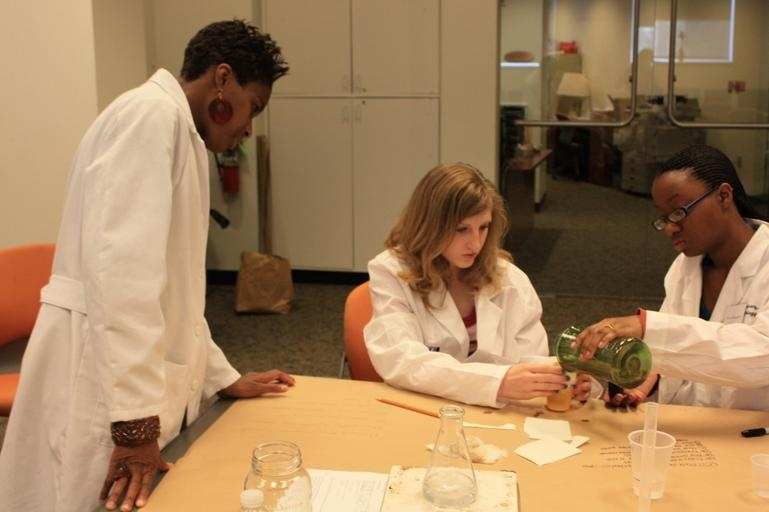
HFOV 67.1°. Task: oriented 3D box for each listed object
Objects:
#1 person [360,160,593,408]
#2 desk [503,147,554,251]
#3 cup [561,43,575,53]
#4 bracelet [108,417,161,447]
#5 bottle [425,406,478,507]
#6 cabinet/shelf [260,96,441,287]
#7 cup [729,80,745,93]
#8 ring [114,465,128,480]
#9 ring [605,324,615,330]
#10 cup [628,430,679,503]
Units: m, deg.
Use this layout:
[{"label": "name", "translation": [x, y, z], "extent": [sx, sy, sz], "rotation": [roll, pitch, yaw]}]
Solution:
[{"label": "person", "translation": [0.352, 0.136, 2.337], "extent": [0.794, 0.959, 1.090], "rotation": [-2, 5, -35]}, {"label": "desk", "translation": [1.213, -0.516, 4.848], "extent": [0.428, 0.629, 0.657], "rotation": [-2, 32, 14]}, {"label": "cup", "translation": [1.477, -1.680, 4.665], "extent": [0.111, 0.094, 0.080], "rotation": [1, 9, 12]}, {"label": "bracelet", "translation": [-0.654, 0.462, 1.525], "extent": [0.097, 0.065, 0.075], "rotation": [-9, -7, -23]}, {"label": "bottle", "translation": [0.174, 0.508, 1.510], "extent": [0.158, 0.268, 0.127], "rotation": [-5, 12, -7]}, {"label": "cabinet/shelf", "translation": [-0.292, -0.635, 4.730], "extent": [1.543, 1.567, 0.534], "rotation": [2, 13, 8]}, {"label": "cup", "translation": [2.741, -1.317, 4.513], "extent": [0.148, 0.109, 0.084], "rotation": [3, 15, 10]}, {"label": "ring", "translation": [-0.691, 0.565, 1.528], "extent": [0.033, 0.034, 0.012], "rotation": [1, 2, -34]}, {"label": "ring", "translation": [0.709, 0.226, 1.829], "extent": [0.022, 0.006, 0.023], "rotation": [-1, 14, 0]}, {"label": "cup", "translation": [0.730, 0.544, 1.592], "extent": [0.108, 0.183, 0.229], "rotation": [3, 14, 25]}]
